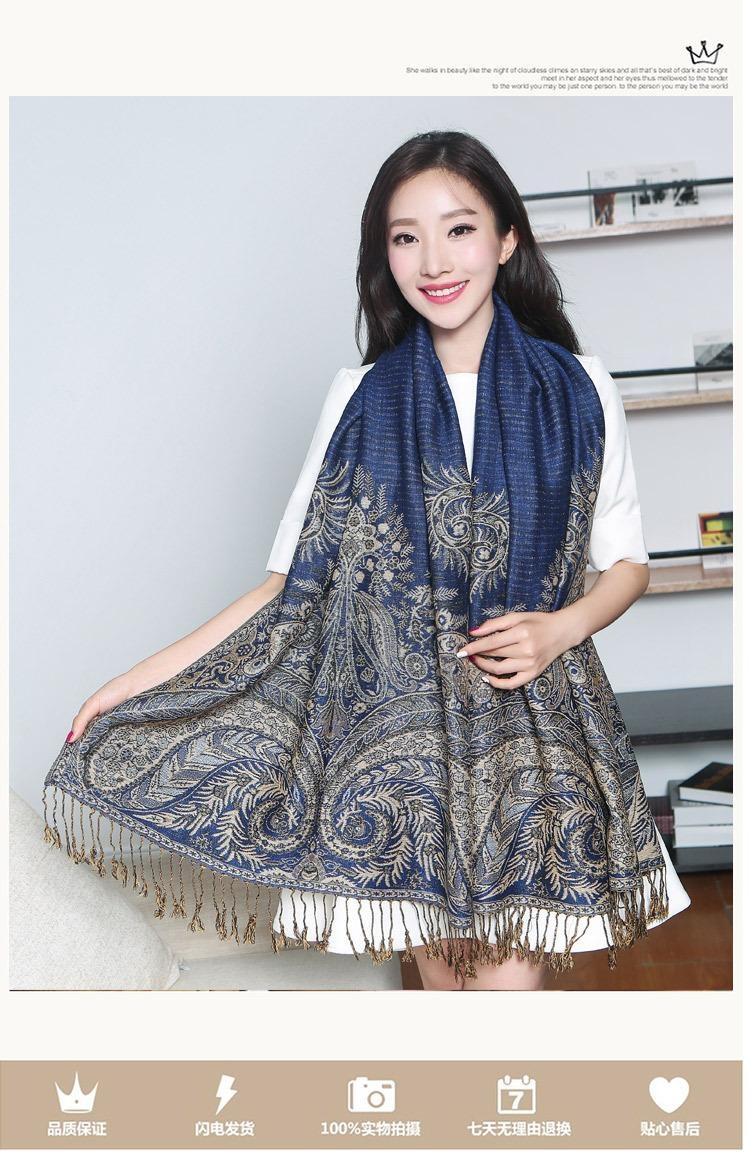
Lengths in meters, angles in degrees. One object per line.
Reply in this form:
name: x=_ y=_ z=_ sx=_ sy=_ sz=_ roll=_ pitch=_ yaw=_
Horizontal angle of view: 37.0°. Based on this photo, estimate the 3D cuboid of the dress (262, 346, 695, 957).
dress: x=0.096 y=0.093 z=1.712 sx=0.718 sy=0.822 sz=0.475 roll=1 pitch=6 yaw=2
